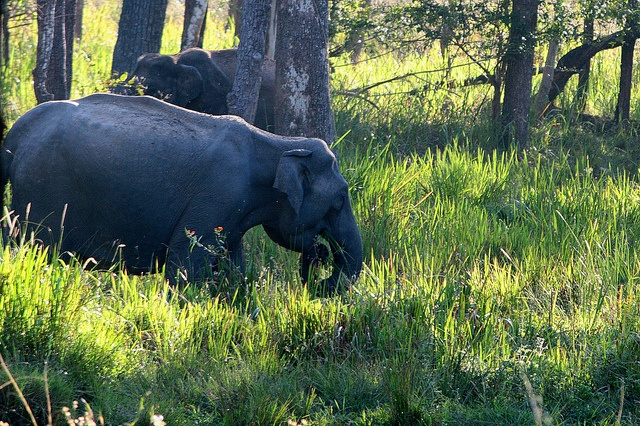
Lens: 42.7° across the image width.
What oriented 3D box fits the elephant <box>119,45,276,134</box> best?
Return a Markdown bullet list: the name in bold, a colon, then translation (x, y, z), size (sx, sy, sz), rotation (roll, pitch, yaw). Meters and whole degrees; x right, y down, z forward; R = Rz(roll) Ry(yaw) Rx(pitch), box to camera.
- **elephant**: translation (-1.330, -1.433, 9.377), size (1.736, 1.083, 0.732), rotation (-4, 17, -40)
